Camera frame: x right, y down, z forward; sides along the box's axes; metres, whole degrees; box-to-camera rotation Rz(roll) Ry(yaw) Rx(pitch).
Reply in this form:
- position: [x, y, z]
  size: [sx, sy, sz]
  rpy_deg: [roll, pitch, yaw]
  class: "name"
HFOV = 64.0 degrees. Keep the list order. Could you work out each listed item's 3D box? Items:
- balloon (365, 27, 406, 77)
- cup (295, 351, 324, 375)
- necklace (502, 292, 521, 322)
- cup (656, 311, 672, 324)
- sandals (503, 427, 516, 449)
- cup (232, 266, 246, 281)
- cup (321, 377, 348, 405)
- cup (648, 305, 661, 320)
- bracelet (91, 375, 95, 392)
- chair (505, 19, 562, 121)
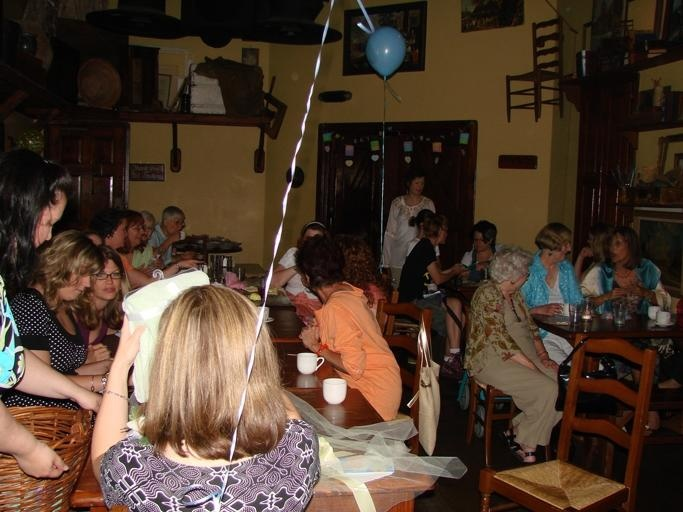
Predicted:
- position: [0.380, -1.748, 4.709]
  size: [0.346, 0.467, 0.348]
  rpy_deg: [-5, 10, -44]
  class: "balloon"
- position: [-0.154, 0.547, 2.812]
  size: [0.118, 0.094, 0.098]
  rpy_deg: [4, -3, -10]
  class: "cup"
- position: [1.199, 0.359, 3.836]
  size: [0.117, 0.136, 0.177]
  rpy_deg: [-1, 18, 4]
  class: "necklace"
- position: [2.399, 0.456, 4.072]
  size: [0.088, 0.085, 0.085]
  rpy_deg: [2, -1, 0]
  class: "cup"
- position: [1.168, 1.270, 3.794]
  size: [0.055, 0.163, 0.057]
  rpy_deg: [-11, 2, 32]
  class: "sandals"
- position: [-0.948, 0.165, 5.028]
  size: [0.122, 0.225, 0.129]
  rpy_deg: [0, -3, 0]
  class: "cup"
- position: [-0.028, 0.591, 2.393]
  size: [0.090, 0.094, 0.110]
  rpy_deg: [1, -7, -5]
  class: "cup"
- position: [2.410, 0.432, 4.227]
  size: [0.089, 0.116, 0.095]
  rpy_deg: [2, -4, 0]
  class: "cup"
- position: [-1.125, 0.574, 2.475]
  size: [0.013, 0.048, 0.046]
  rpy_deg: [3, -6, -18]
  class: "bracelet"
- position: [2.202, -2.136, 6.211]
  size: [0.654, 1.149, 0.764]
  rpy_deg: [4, 5, 19]
  class: "chair"
